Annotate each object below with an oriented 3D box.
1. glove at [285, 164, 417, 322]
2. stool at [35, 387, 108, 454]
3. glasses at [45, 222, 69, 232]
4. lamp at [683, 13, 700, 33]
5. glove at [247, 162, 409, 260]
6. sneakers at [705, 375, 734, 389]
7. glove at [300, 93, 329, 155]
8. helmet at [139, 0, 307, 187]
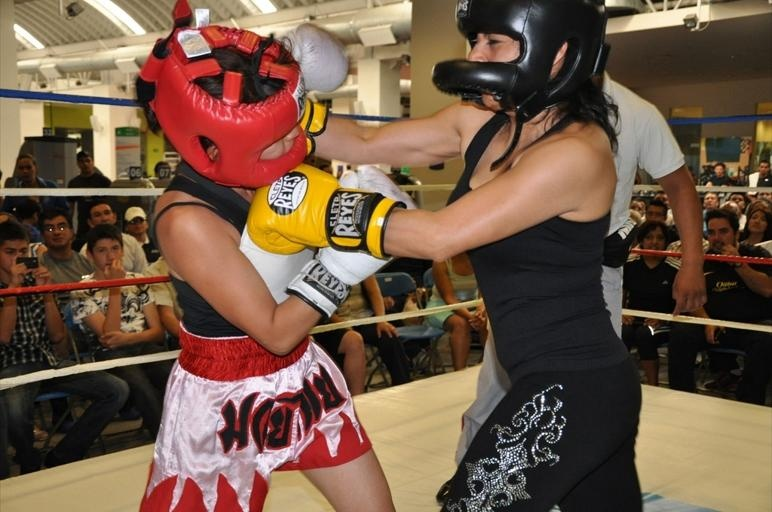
[{"bbox_3d":[-0.101,-0.004,1.502,0.175,0.391,0.277,30,-4,31],"label":"glove"},{"bbox_3d":[-1.678,0.886,3.099,0.481,0.355,0.333,0,-8,-22],"label":"stool"},{"bbox_3d":[-1.802,-0.157,3.173,0.058,0.059,0.020,0,13,-12],"label":"glasses"},{"bbox_3d":[3.229,-2.480,6.119,0.207,0.194,0.344,2,20,28],"label":"lamp"},{"bbox_3d":[-0.152,-0.086,1.511,0.488,0.180,0.288,6,10,24],"label":"glove"},{"bbox_3d":[2.500,0.936,4.315,0.219,0.082,0.083,-1,17,12],"label":"sneakers"},{"bbox_3d":[-0.214,-0.385,1.669,0.083,0.161,0.119,8,1,-13],"label":"glove"},{"bbox_3d":[-0.410,-0.392,1.456,0.424,0.431,0.206,3,-13,-8],"label":"helmet"}]
